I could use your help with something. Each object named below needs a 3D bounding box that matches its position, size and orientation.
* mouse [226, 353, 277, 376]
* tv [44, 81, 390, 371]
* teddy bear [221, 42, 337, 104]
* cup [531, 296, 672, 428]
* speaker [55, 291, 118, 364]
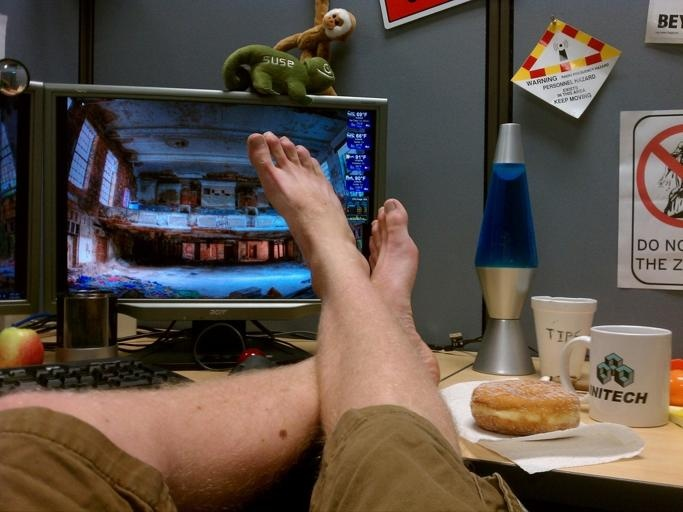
[{"bbox_3d":[-0.142,0.164,0.876,0.033,0.020,0.059,-4,-13,24],"label":"mouse"},{"bbox_3d":[-0.239,-0.065,1.054,0.587,0.455,0.126,0,-3,-7],"label":"tv"},{"bbox_3d":[-0.121,-0.339,1.127,0.172,0.079,0.126,-1,7,-12],"label":"teddy bear"},{"bbox_3d":[0.371,0.155,0.845,0.226,0.141,0.119,-1,-3,42],"label":"cup"},{"bbox_3d":[-0.447,0.122,1.018,0.108,0.113,0.108,-1,1,-41],"label":"speaker"}]
